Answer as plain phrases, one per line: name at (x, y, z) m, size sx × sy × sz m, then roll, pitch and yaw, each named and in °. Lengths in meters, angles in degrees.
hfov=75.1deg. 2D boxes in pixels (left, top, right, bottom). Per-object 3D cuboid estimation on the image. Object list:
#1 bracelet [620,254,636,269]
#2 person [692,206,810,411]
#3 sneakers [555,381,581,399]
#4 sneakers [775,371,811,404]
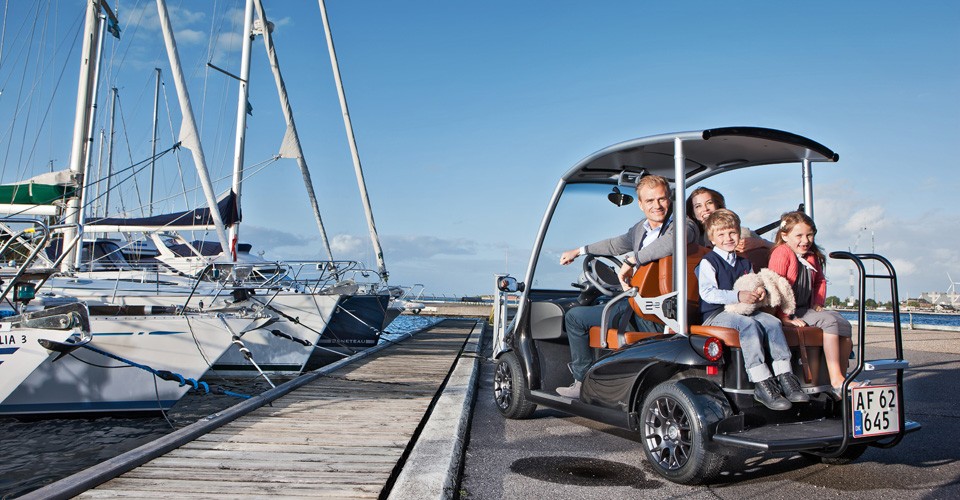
bracelet at (2.005, 0.158, 8.426) m, size 0.179 × 0.089 × 0.213 m, roll 1°, pitch 20°, yaw -16°
person at (3.235, 0.709, 7.447) m, size 1.274 × 2.336 × 0.665 m, roll 7°, pitch 8°, yaw 41°
sneakers at (1.260, 1.954, 8.656) m, size 0.153 × 0.163 × 0.415 m, roll 9°, pitch -5°, yaw -39°
sneakers at (3.621, 1.558, 7.273) m, size 0.218 × 0.204 × 0.547 m, roll -18°, pitch 21°, yaw -5°
